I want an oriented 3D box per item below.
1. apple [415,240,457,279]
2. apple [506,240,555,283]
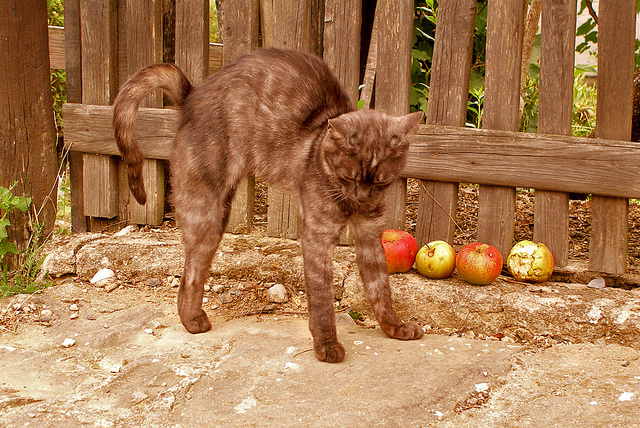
[{"bbox_3d":[0.944,0.377,4.736,0.277,0.307,0.288,-10,31,31],"label":"apple"},{"bbox_3d":[1.677,0.372,4.623,0.338,0.359,0.351,8,14,17],"label":"apple"}]
